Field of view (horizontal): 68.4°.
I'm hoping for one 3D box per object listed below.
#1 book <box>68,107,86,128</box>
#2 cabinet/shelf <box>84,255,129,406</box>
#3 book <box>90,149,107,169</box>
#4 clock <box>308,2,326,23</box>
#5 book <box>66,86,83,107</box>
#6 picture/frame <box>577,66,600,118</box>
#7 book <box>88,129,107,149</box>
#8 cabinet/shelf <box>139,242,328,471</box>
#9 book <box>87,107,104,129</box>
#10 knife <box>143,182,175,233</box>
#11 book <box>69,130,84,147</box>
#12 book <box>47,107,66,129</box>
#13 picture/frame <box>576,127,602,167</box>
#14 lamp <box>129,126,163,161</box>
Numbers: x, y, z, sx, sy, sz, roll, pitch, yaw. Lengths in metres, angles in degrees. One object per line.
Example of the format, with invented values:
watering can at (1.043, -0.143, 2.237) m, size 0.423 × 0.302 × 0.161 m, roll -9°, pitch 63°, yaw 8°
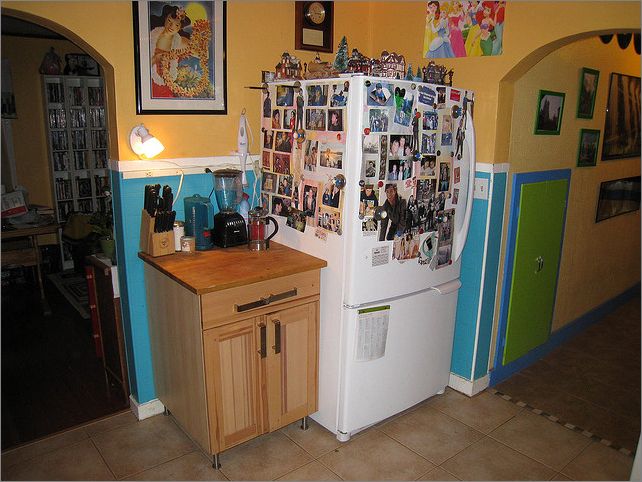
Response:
book at (-3.360, -1.695, 6.512) m, size 0.192 × 0.251 × 0.044 m, roll -7°, pitch 16°, yaw -27°
cabinet/shelf at (-1.751, 0.689, 3.866) m, size 0.193 × 1.091 × 0.694 m, roll -7°, pitch 16°, yaw -29°
book at (-3.180, -1.178, 6.734) m, size 0.181 × 0.266 × 0.068 m, roll 0°, pitch 7°, yaw -31°
clock at (-0.037, -1.886, 3.905) m, size 0.175 × 0.164 × 0.025 m, roll -12°, pitch 19°, yaw -41°
book at (-3.355, -1.985, 6.457) m, size 0.221 × 0.220 × 0.051 m, roll -8°, pitch 14°, yaw -41°
picture/frame at (2.457, -1.391, 4.363) m, size 0.045 × 0.490 × 0.418 m, roll 14°, pitch 19°, yaw 40°
book at (-3.152, -1.444, 6.692) m, size 0.227 × 0.360 × 0.194 m, roll -1°, pitch 14°, yaw -19°
cabinet/shelf at (-0.570, 0.621, 3.898) m, size 1.217 × 1.804 × 1.424 m, roll -11°, pitch 18°, yaw -40°
book at (-3.163, -1.735, 6.608) m, size 0.260 × 0.264 × 0.063 m, roll -6°, pitch 13°, yaw -32°
knife at (-1.133, -0.237, 3.331) m, size 0.202 × 0.361 × 0.077 m, roll -8°, pitch -3°, yaw -39°
book at (-3.376, -1.418, 6.571) m, size 0.197 × 0.198 × 0.052 m, roll -10°, pitch 15°, yaw -34°
book at (-3.585, -1.662, 6.399) m, size 0.211 × 0.255 × 0.043 m, roll -9°, pitch 17°, yaw -33°
picture/frame at (2.495, -0.892, 4.529) m, size 0.461 × 0.364 × 0.010 m, roll -5°, pitch 13°, yaw -19°
lamp at (-1.237, -0.699, 3.340) m, size 0.229 × 0.246 × 0.141 m, roll -5°, pitch 15°, yaw -22°
